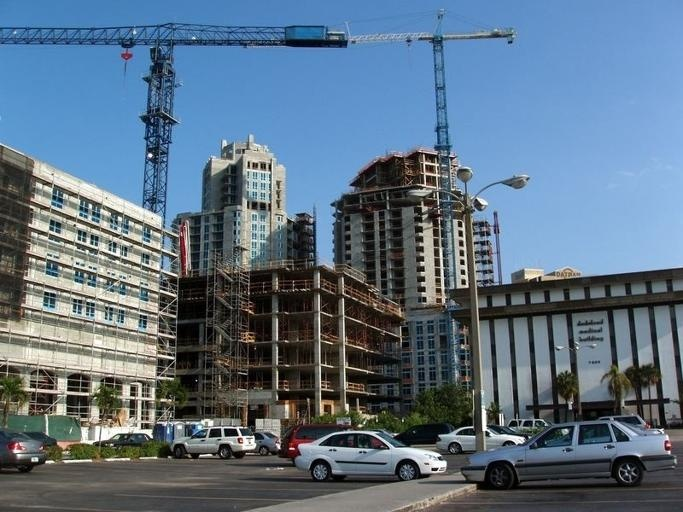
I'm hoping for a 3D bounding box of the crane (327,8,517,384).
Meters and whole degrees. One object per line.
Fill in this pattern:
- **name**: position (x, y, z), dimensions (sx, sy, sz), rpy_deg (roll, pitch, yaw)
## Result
- **crane**: position (12.975, -11.032, 150.120), dimensions (50.899, 52.426, 20.460), rpy_deg (-10, -24, 38)
